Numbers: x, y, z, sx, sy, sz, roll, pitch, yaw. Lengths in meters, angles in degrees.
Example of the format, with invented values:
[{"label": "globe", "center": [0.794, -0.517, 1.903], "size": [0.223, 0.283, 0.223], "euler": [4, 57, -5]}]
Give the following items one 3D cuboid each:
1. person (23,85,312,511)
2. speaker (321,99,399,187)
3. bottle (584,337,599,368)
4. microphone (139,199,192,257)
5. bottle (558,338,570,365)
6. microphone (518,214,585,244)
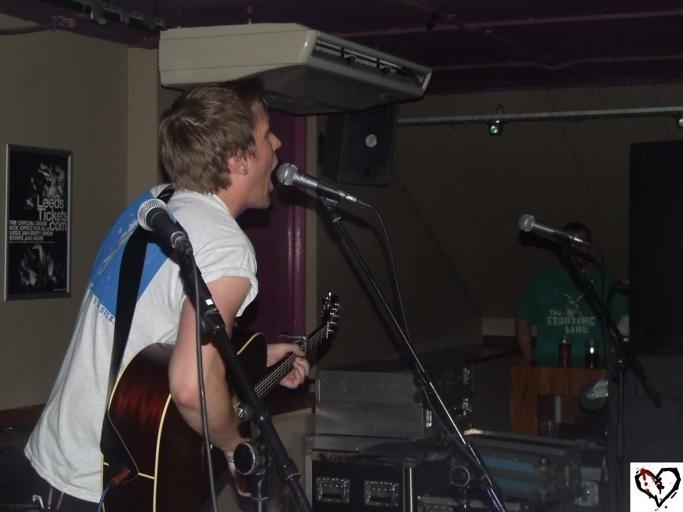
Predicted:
[{"label": "person", "center": [-0.569, 0.066, 2.256], "size": [0.191, 1.581, 0.629], "euler": [-1, -33, 12]}, {"label": "speaker", "center": [0.082, -0.564, 3.601], "size": [0.298, 0.614, 0.294], "euler": [12, 28, 4]}, {"label": "bottle", "center": [1.659, 0.644, 4.819], "size": [0.083, 0.184, 0.414], "euler": [-1, -6, 19]}, {"label": "microphone", "center": [-0.488, -0.079, 2.028], "size": [0.195, 0.162, 0.072], "euler": [-3, -6, 38]}, {"label": "bottle", "center": [1.482, 0.638, 4.832], "size": [0.069, 0.187, 0.157], "euler": [-1, -5, 19]}, {"label": "microphone", "center": [1.395, -0.188, 4.790], "size": [0.415, 0.153, 0.125], "euler": [21, -36, 25]}]
